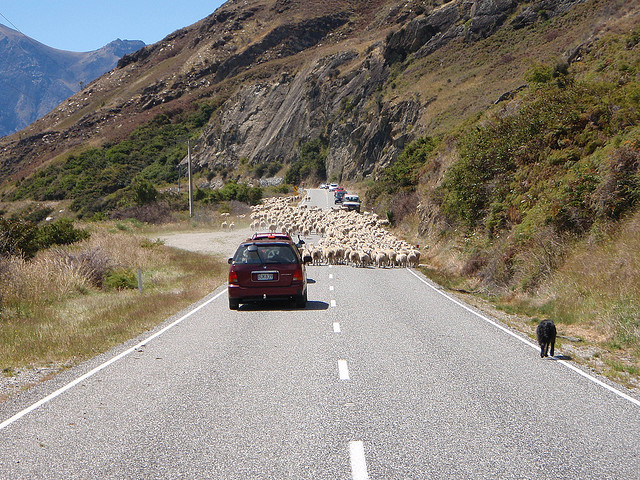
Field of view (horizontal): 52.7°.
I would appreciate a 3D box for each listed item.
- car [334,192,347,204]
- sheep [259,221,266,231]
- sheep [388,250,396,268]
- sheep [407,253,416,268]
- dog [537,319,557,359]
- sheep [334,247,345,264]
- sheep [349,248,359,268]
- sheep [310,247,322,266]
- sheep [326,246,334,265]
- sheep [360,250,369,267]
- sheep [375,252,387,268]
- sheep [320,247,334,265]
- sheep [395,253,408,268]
[{"bbox_3d":[2.248,-4.812,73.171,1.643,1.737,3.064,0,3,-1],"label":"car"},{"bbox_3d":[-4.368,-1.089,48.458,0.437,0.855,1.067,1,6,-4],"label":"sheep"},{"bbox_3d":[3.402,0.889,30.822,0.355,0.813,0.750,2,9,7],"label":"sheep"},{"bbox_3d":[4.400,0.966,31.251,0.461,0.593,0.336,0,9,-5],"label":"sheep"},{"bbox_3d":[4.895,2.132,13.994,0.352,0.846,0.667,4,10,21],"label":"dog"},{"bbox_3d":[0.907,0.754,31.081,0.471,0.834,0.739,1,9,3],"label":"sheep"},{"bbox_3d":[1.555,0.857,30.182,0.433,0.812,0.929,1,10,1],"label":"sheep"},{"bbox_3d":[-0.194,0.794,30.669,0.492,0.818,1.157,1,10,2],"label":"sheep"},{"bbox_3d":[0.453,0.771,31.016,0.374,0.813,0.600,1,9,0],"label":"sheep"},{"bbox_3d":[1.992,0.911,29.790,0.352,0.715,0.682,1,9,4],"label":"sheep"},{"bbox_3d":[2.847,0.918,30.595,0.468,0.711,0.845,5,11,27],"label":"sheep"},{"bbox_3d":[0.347,0.744,31.137,0.916,0.772,0.551,9,12,41],"label":"sheep"},{"bbox_3d":[3.842,0.973,30.854,0.571,0.619,0.374,2,9,8],"label":"sheep"}]
